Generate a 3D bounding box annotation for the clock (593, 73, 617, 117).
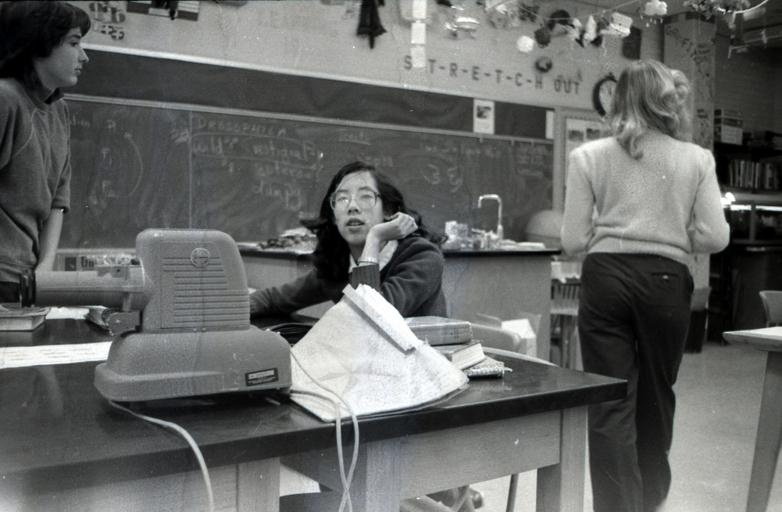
[{"bbox_3d":[0.580,-0.439,1.842,0.029,0.124,0.122,7,30,30],"label":"clock"}]
